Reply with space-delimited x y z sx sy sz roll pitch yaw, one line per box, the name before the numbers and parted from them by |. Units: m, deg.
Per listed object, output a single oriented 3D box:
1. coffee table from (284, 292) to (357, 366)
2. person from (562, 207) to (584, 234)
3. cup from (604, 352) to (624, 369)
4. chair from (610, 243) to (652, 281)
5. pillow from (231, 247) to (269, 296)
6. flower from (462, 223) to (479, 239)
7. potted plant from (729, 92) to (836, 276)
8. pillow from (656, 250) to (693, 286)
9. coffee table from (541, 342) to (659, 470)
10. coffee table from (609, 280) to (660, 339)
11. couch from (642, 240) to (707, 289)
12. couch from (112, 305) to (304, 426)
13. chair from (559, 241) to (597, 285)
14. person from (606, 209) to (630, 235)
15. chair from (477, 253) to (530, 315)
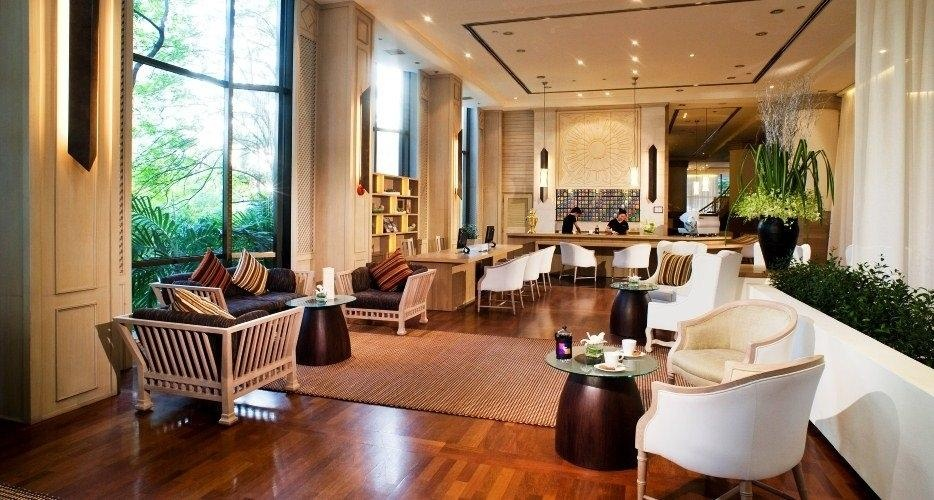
coffee table | -2.037 1.156 8.125 0.831 0.783 0.846 -8 3 -42
person | 2.761 -0.772 15.042 0.361 0.767 2.243 3 9 13
cup | 1.544 1.171 6.096 0.203 0.134 0.159 2 2 16
chair | 3.632 0.266 12.720 0.859 0.777 0.819 1 4 25
pillow | -3.387 0.347 9.084 0.205 0.593 0.655 -9 -33 33
flower | 0.083 -0.422 12.378 0.450 0.421 0.397 1 -3 -10
potted plant | 4.180 -0.946 7.729 1.353 2.284 1.270 11 16 33
pillow | 3.482 0.308 10.063 0.722 0.650 0.243 10 -9 -27
coffee table | 1.518 1.758 6.425 1.333 0.995 1.342 2 1 4
coffee table | 2.636 0.956 9.212 0.740 0.741 0.758 7 11 39
couch | 3.816 0.212 10.492 1.009 0.992 1.134 11 -10 -30
couch | -3.149 1.341 7.393 1.737 1.007 2.030 2 3 25
chair | 2.530 0.253 13.210 0.864 0.806 0.773 3 1 0
person | 3.671 -0.678 14.080 0.463 0.512 1.013 3 9 11
chair | 0.529 0.619 10.719 1.094 1.285 1.014 1 1 14
